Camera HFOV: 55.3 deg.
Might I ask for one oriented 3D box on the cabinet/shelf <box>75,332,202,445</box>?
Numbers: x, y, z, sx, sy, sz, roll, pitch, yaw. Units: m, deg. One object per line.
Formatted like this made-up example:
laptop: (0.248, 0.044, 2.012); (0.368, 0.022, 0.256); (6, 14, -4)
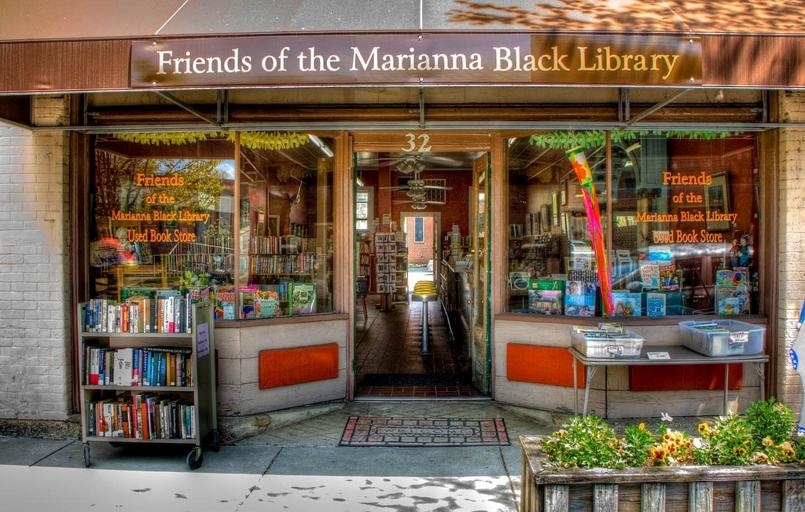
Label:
cabinet/shelf: (-2.743, 1.405, 8.047); (1.446, 1.187, 0.561); (-1, -5, 0)

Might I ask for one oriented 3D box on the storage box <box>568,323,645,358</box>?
storage box: (2.189, 0.906, 8.227); (0.714, 0.345, 0.443); (-1, 0, 8)

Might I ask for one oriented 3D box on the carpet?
carpet: (0.254, 1.955, 8.513); (1.860, 0.191, 0.579); (-1, 0, 2)

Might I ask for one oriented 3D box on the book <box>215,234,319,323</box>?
book: (-1.440, 0.225, 9.144); (1.027, 0.968, 0.219); (-1, -1, -31)

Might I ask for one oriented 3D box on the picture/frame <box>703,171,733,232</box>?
picture/frame: (3.722, -0.632, 9.043); (0.066, 0.698, 0.339); (-4, 0, -34)

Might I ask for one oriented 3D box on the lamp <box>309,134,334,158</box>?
lamp: (-1.002, -1.340, 9.319); (0.308, 0.257, 0.070); (-1, -1, -25)

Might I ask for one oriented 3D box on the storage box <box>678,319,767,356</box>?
storage box: (3.465, 0.852, 8.393); (0.756, 0.381, 0.703); (0, 0, -3)
